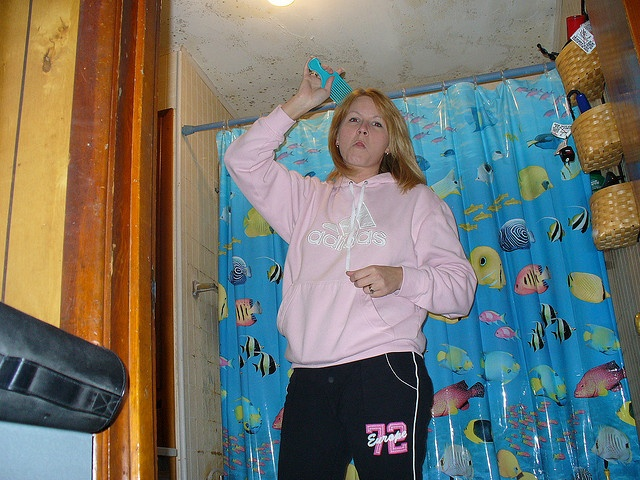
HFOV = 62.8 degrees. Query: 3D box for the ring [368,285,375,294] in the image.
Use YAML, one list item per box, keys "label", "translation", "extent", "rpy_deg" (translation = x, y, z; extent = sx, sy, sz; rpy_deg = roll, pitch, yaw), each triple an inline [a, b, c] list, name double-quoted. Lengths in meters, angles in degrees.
- label: "ring"
  translation: [0.126, 0.123, 1.299]
  extent: [0.013, 0.022, 0.013]
  rpy_deg: [-7, -11, -1]
